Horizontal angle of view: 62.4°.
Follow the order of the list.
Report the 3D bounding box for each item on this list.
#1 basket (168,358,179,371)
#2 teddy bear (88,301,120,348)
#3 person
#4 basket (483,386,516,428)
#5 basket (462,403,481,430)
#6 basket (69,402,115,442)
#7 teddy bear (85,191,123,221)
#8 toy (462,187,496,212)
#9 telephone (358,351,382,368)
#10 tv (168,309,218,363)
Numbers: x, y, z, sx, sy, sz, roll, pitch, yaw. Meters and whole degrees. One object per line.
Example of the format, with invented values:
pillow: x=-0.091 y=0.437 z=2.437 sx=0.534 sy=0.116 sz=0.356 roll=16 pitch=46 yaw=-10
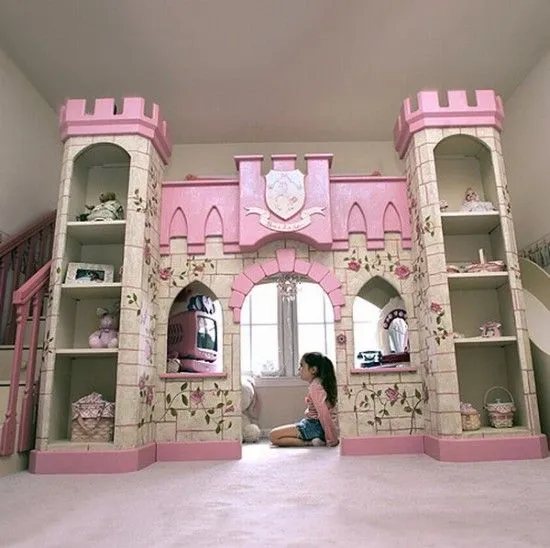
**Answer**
basket: x=-0.934 y=0.844 z=4.168 sx=0.086 sy=0.107 sz=0.098 roll=6 pitch=-13 yaw=-30
teddy bear: x=-1.424 y=0.451 z=3.842 sx=0.233 sy=0.401 sz=0.244 roll=4 pitch=0 yaw=-41
person: x=0.322 y=1.376 z=4.975 sx=0.732 sy=1.040 sz=0.680 roll=-12 pitch=-27 yaw=38
basket: x=1.867 y=1.106 z=3.784 sx=0.243 sy=0.334 sz=0.323 roll=-8 pitch=-15 yaw=25
basket: x=1.566 y=1.156 z=3.699 sx=0.164 sy=0.198 sz=0.180 roll=-1 pitch=-4 yaw=14
basket: x=-1.494 y=1.195 z=3.599 sx=0.363 sy=0.300 sz=0.241 roll=15 pitch=-33 yaw=-41
teddy bear: x=-1.577 y=-0.614 z=4.140 sx=0.231 sy=0.237 sz=0.150 roll=-2 pitch=-29 yaw=-2
toy: x=1.870 y=-0.676 z=4.150 sx=0.250 sy=0.146 sz=0.342 roll=-3 pitch=32 yaw=14
telephone: x=0.970 y=0.880 z=4.669 sx=0.236 sy=0.196 sz=0.598 roll=-4 pitch=-15 yaw=10
tv: x=-0.869 y=0.678 z=4.835 sx=0.415 sy=0.503 sz=0.554 roll=-3 pitch=-14 yaw=14
